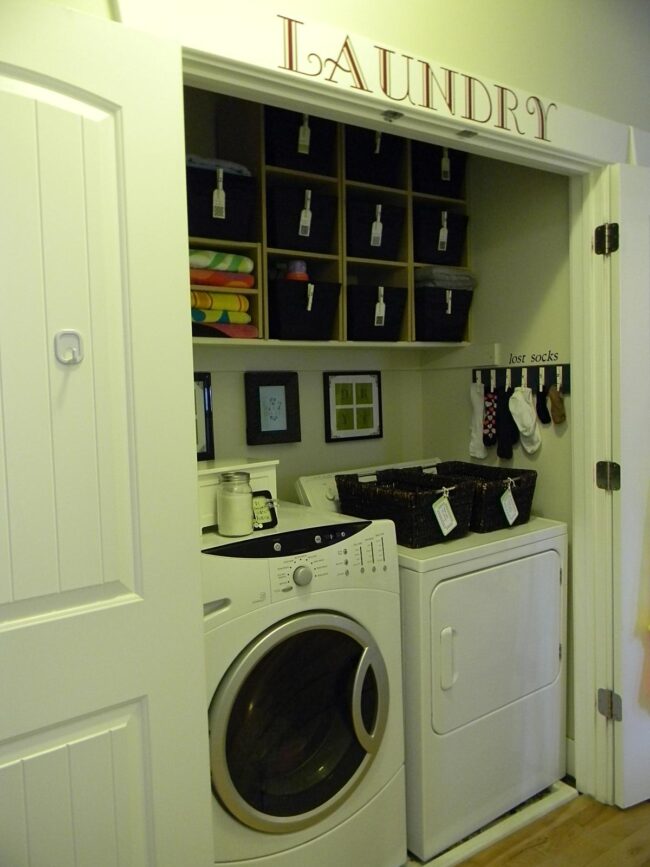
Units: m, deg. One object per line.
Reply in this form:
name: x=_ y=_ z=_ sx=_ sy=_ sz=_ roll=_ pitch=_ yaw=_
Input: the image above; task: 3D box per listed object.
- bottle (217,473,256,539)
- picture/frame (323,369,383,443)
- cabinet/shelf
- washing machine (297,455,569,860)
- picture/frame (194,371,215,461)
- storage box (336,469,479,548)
bottle: x=-0.229 y=0.176 z=1.753 sx=0.081 sy=0.155 sz=0.088 roll=0 pitch=15 yaw=0
picture/frame: x=0.089 y=-0.104 z=2.624 sx=0.234 sy=0.261 sz=0.016 roll=-8 pitch=9 yaw=-43
cabinet/shelf: x=0.007 y=-0.710 z=2.356 sx=1.135 sy=0.847 sz=0.303 roll=-7 pitch=5 yaw=-36
washing machine: x=0.550 y=0.557 z=2.630 sx=0.943 sy=1.618 sz=0.812 roll=-5 pitch=4 yaw=-45
picture/frame: x=-0.382 y=-0.050 z=2.186 sx=0.008 sy=0.266 sz=0.133 roll=-1 pitch=-1 yaw=-36
storage box: x=0.232 y=0.215 z=2.140 sx=0.205 sy=0.159 sz=0.312 roll=-3 pitch=3 yaw=-33
